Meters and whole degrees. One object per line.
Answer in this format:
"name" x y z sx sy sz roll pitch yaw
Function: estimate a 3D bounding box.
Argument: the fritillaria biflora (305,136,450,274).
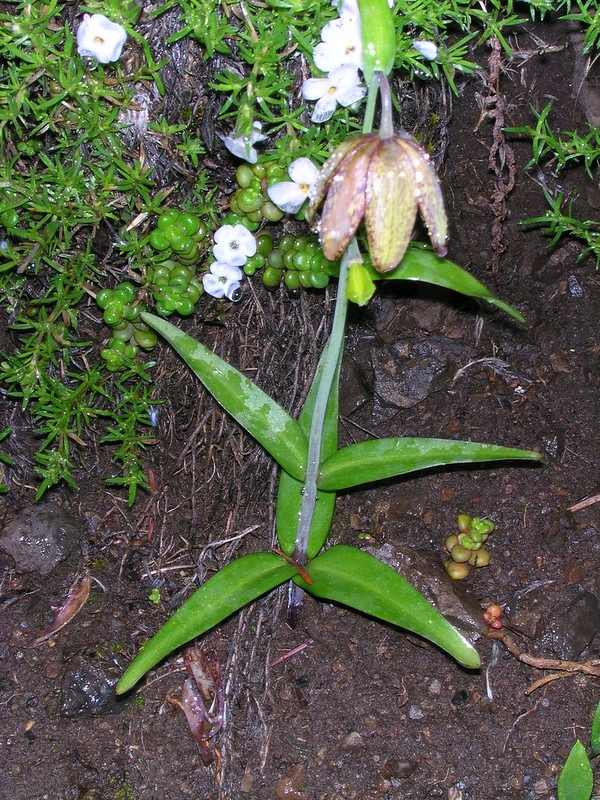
"fritillaria biflora" 0.107 -0.252 0.901 0.193 0.144 0.189 13 33 17

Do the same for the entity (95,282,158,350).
"entity" -0.326 -0.157 1.401 0.084 0.131 0.041 -48 42 -9

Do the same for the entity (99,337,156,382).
"entity" -0.349 -0.078 1.436 0.035 0.116 0.075 41 111 52

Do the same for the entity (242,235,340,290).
"entity" -0.039 -0.269 1.425 0.162 0.229 0.062 -19 87 15
